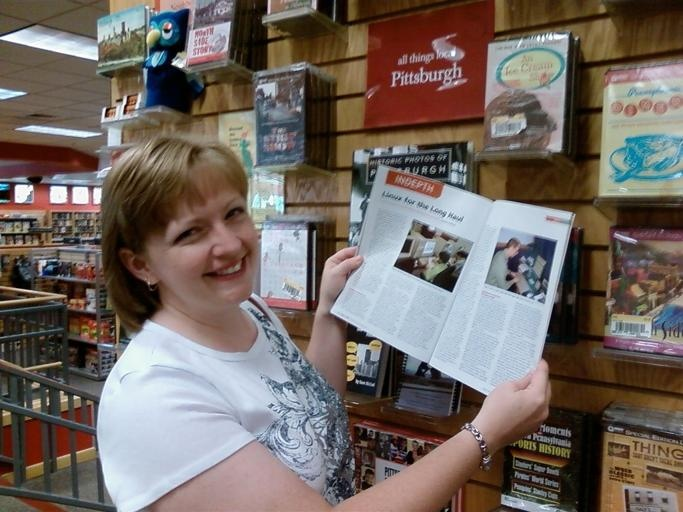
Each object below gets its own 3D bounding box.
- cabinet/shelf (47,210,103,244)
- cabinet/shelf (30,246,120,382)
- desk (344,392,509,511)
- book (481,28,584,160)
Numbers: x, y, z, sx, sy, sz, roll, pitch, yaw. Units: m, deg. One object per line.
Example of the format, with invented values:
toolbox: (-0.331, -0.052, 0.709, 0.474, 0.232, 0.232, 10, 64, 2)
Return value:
cabinet/shelf: (-9.077, -0.869, 17.456, 0.482, 1.302, 1.463, -15, -7, 38)
cabinet/shelf: (-2.929, 0.697, 5.706, 1.639, 1.431, 0.541, 6, 7, 38)
desk: (0.216, 0.514, 1.344, 0.181, 0.314, 0.327, 34, -33, -28)
book: (0.632, -0.538, 1.859, 0.328, 0.443, 0.430, 2, 2, 30)
